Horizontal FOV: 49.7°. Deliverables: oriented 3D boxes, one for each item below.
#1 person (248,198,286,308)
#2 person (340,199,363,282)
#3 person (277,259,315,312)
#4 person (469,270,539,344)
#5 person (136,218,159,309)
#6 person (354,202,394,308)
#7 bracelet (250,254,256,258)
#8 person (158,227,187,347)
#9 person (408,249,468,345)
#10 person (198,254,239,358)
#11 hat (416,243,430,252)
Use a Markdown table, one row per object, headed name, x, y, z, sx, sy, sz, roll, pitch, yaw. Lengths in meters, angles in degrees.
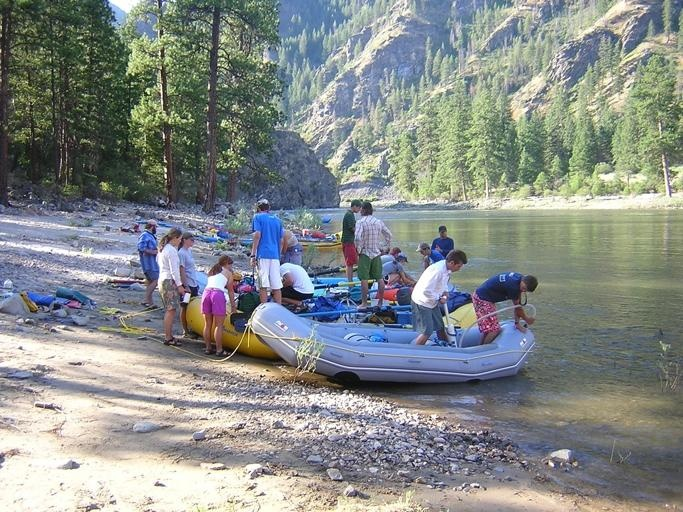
| name | x | y | z | sx | sy | sz | roll | pitch | yaw |
| --- | --- | --- | --- | --- | --- | --- | --- | --- | --- |
| person | -1.807 | 0.002 | 16.743 | 0.763 | 2.604 | 1.031 | -4 | -8 | 40 |
| person | 0.248 | -0.408 | 18.783 | 0.523 | 1.849 | 0.604 | -1 | 9 | -27 |
| person | -1.099 | 0.675 | 17.245 | 0.879 | 0.970 | 0.698 | 1 | 7 | -10 |
| person | 3.656 | 1.131 | 15.439 | 1.288 | 1.527 | 1.252 | -1 | 7 | -24 |
| person | -4.661 | 0.134 | 17.609 | 0.596 | 1.835 | 0.806 | 0 | 12 | -25 |
| person | 0.774 | -0.118 | 18.338 | 0.907 | 2.262 | 1.259 | 0 | 1 | 18 |
| bracelet | -2.008 | -0.009 | 16.389 | 0.129 | 0.074 | 0.076 | 1 | 3 | 37 |
| person | -3.578 | 0.628 | 15.555 | 0.849 | 2.389 | 0.851 | 2 | -1 | -22 |
| person | 1.968 | 1.005 | 15.236 | 1.309 | 2.296 | 0.827 | -2 | 11 | -15 |
| person | -2.624 | 1.003 | 15.514 | 0.838 | 2.041 | 0.766 | 0 | -4 | -8 |
| hat | 2.189 | -0.226 | 19.975 | 0.366 | 0.178 | 0.236 | 7 | 14 | 18 |
